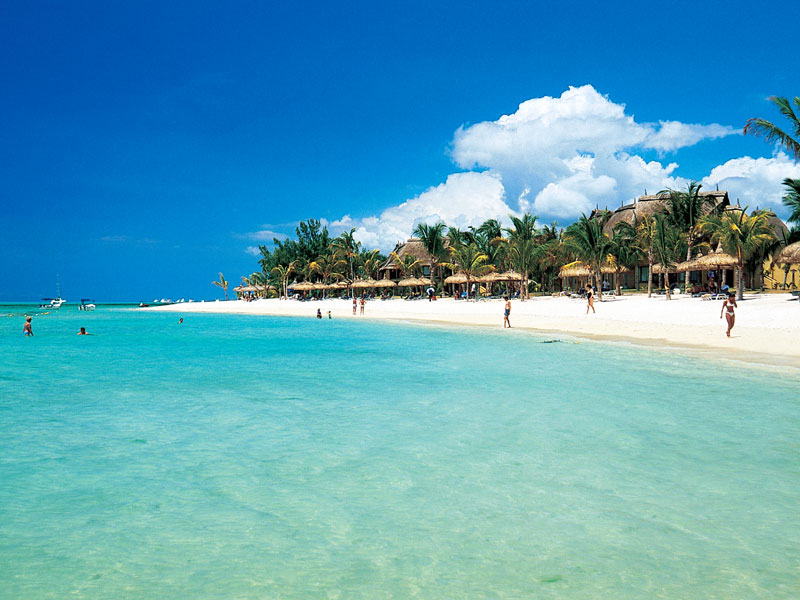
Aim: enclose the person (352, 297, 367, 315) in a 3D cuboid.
[{"bbox_3d":[-3.957,0.587,61.159,1.437,1.785,0.430,4,14,14],"label":"person"}]
